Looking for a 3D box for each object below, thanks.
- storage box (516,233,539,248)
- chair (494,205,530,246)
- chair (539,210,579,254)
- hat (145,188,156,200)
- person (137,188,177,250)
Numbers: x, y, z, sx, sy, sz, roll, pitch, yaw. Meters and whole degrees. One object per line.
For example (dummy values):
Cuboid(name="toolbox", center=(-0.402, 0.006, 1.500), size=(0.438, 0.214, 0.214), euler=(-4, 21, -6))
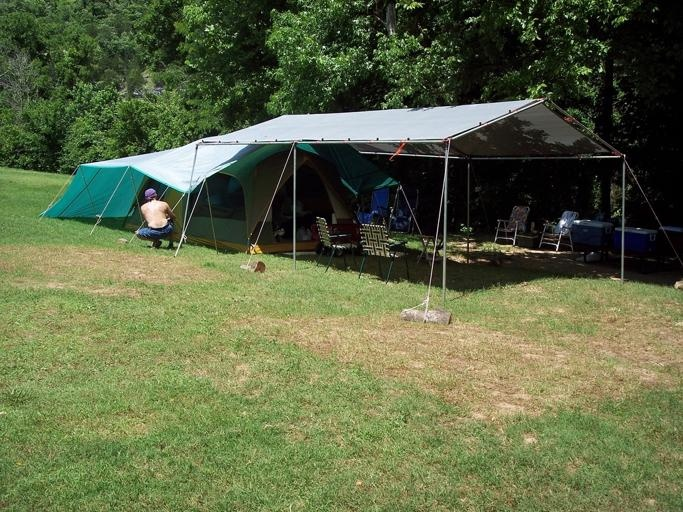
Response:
Cuboid(name="storage box", center=(4.729, -0.396, 15.621), size=(0.562, 0.309, 0.793), euler=(5, 15, 18))
Cuboid(name="chair", center=(4.371, -0.770, 15.690), size=(0.773, 0.968, 0.810), euler=(3, 4, -9))
Cuboid(name="chair", center=(5.325, -0.612, 15.041), size=(0.720, 0.896, 0.791), euler=(11, 16, 43))
Cuboid(name="hat", center=(-4.178, -1.349, 13.538), size=(0.253, 0.193, 0.364), euler=(-8, 18, -19))
Cuboid(name="person", center=(-4.053, -0.830, 13.684), size=(0.814, 1.295, 0.947), euler=(-3, 6, 18))
